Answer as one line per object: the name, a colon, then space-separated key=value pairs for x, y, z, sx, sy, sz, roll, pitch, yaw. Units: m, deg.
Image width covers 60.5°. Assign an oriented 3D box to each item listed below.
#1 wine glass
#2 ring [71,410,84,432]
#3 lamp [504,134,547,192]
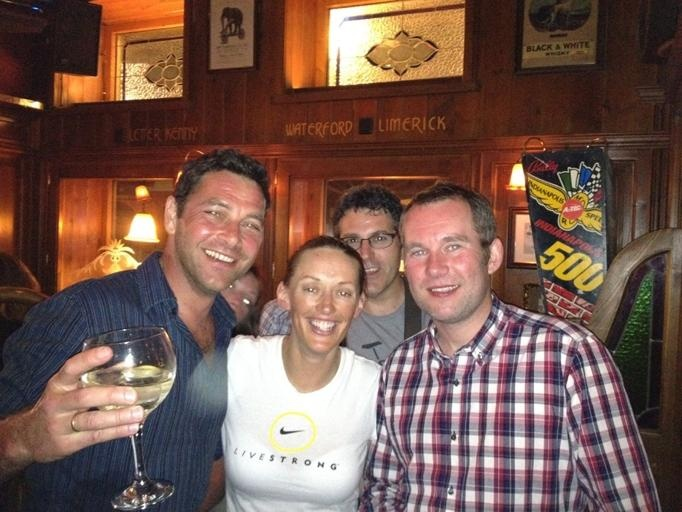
wine glass: x=-0.804 y=0.656 z=2.295 sx=0.308 sy=0.768 sz=0.385 roll=1 pitch=4 yaw=11
ring: x=-0.971 y=0.610 z=2.153 sx=0.052 sy=0.081 sz=0.023 roll=4 pitch=6 yaw=43
lamp: x=1.720 y=-0.884 z=5.432 sx=0.352 sy=0.558 sz=0.283 roll=2 pitch=12 yaw=26
